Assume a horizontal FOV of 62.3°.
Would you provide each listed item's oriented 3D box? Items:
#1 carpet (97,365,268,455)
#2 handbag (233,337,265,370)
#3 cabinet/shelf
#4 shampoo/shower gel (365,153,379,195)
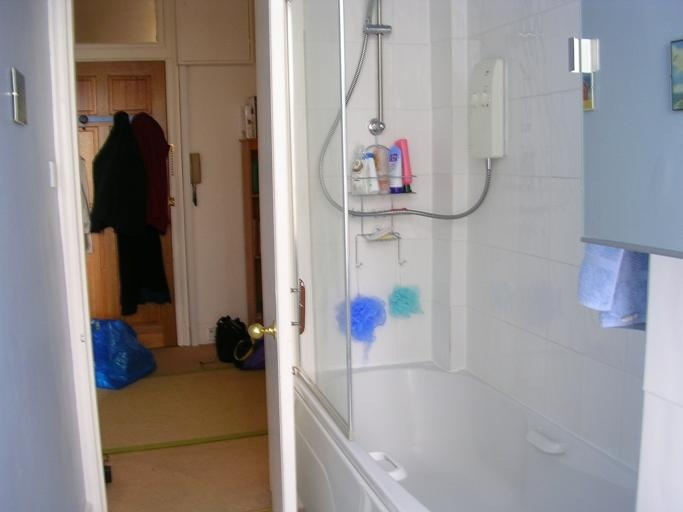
[{"bbox_3d":[-1.044,0.962,3.715,1.095,0.051,1.081,-3,13,-14],"label":"carpet"},{"bbox_3d":[-0.711,0.755,4.328,0.219,0.203,0.239,-3,12,-15],"label":"handbag"},{"bbox_3d":[-0.750,-0.206,4.716,0.129,1.530,0.255,-2,11,-12],"label":"cabinet/shelf"},{"bbox_3d":[0.150,-0.421,2.837,0.071,0.200,0.051,-6,12,-29],"label":"shampoo/shower gel"}]
